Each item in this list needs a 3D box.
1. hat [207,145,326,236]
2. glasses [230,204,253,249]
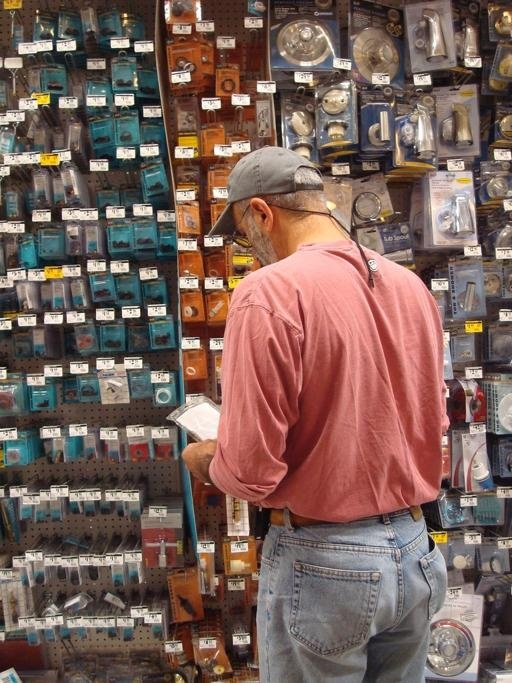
[{"bbox_3d":[0.022,-0.432,1.900,0.300,0.162,0.191,-8,13,33],"label":"hat"},{"bbox_3d":[-0.042,-0.338,2.026,0.027,0.087,0.092,-12,-10,31],"label":"glasses"}]
